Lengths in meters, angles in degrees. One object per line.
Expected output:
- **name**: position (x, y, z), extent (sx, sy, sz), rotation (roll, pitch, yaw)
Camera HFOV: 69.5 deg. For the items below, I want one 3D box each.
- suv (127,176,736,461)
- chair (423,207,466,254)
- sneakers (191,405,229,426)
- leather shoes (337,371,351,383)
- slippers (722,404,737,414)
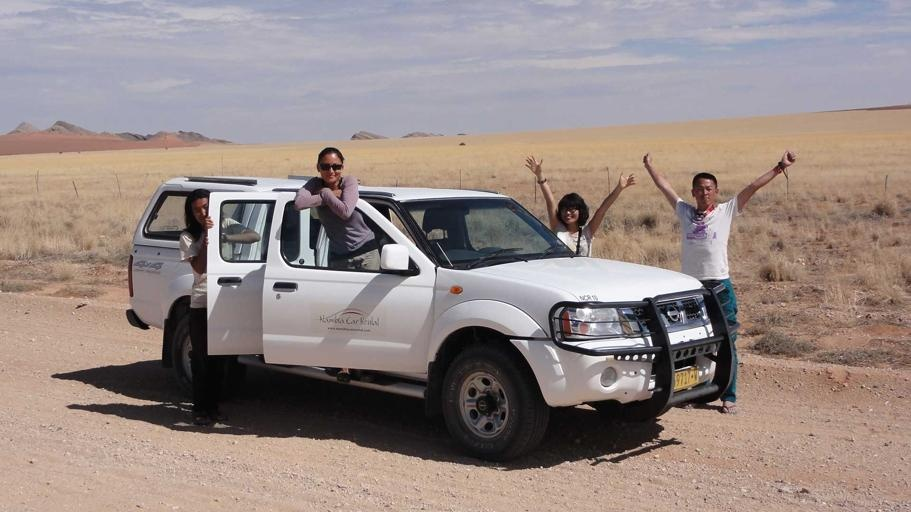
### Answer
- **suv**: position (-0.859, 0.595, 9.662), extent (8.249, 2.871, 3.694), rotation (1, 3, 28)
- **chair**: position (-0.187, -0.361, 9.362), extent (0.717, 0.599, 0.904), rotation (1, -3, -6)
- **sneakers**: position (-3.596, 2.312, 9.583), extent (0.425, 0.169, 0.267), rotation (5, 5, 14)
- **leather shoes**: position (-1.536, 1.667, 9.081), extent (0.159, 0.205, 0.074), rotation (5, 35, 12)
- **slippers**: position (4.006, 2.234, 9.588), extent (0.117, 0.082, 0.204), rotation (-6, 0, -37)
